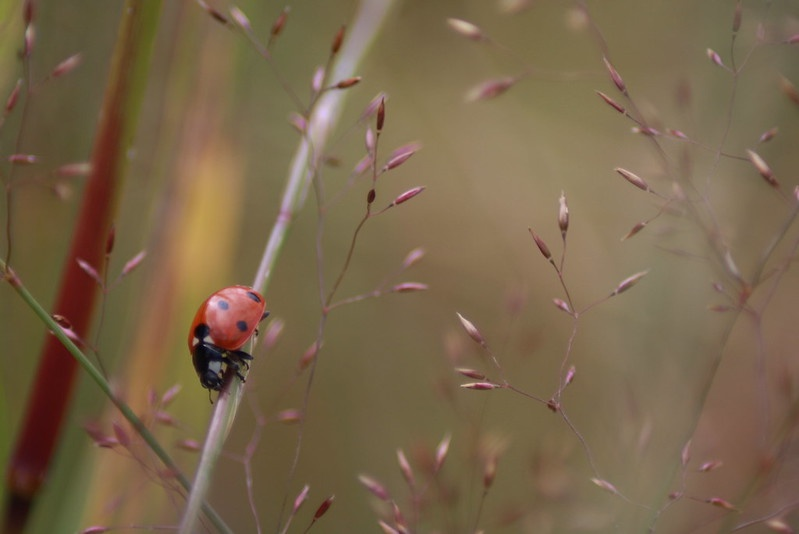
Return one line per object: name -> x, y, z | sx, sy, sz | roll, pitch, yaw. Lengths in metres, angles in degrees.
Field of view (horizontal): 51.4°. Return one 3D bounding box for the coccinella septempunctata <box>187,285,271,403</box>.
coccinella septempunctata -> -0.248, 0.118, 1.146 | 0.091, 0.108, 0.158 | 10, -49, -16
